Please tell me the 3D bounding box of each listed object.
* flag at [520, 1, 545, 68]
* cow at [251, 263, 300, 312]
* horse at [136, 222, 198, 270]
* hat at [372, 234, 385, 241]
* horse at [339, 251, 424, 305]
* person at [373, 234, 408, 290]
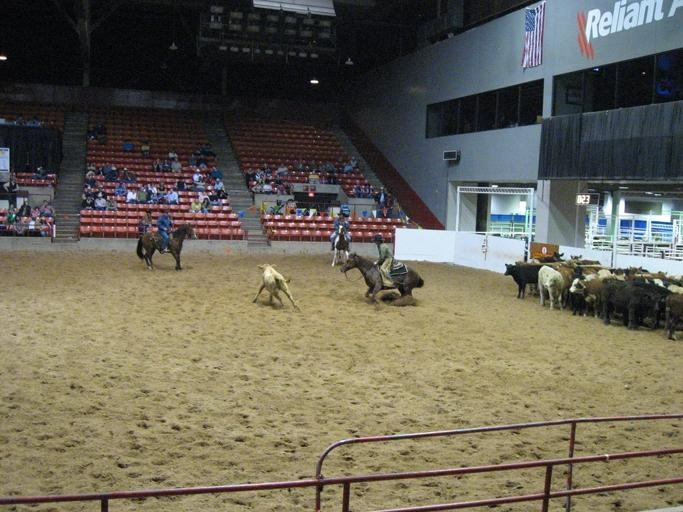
[{"bbox_3d":[7.712,-8.885,29.284,0.359,2.530,1.155,1,4,-17],"label":"flag"},{"bbox_3d":[-1.883,0.776,20.731,0.709,0.920,2.089,-1,8,-21],"label":"cow"},{"bbox_3d":[-5.977,-0.276,24.931,2.172,1.506,0.614,0,5,15],"label":"horse"},{"bbox_3d":[1.092,-0.533,21.321,0.317,0.154,0.441,1,2,8],"label":"hat"},{"bbox_3d":[1.300,0.715,21.414,2.600,1.480,0.653,1,7,-16],"label":"horse"},{"bbox_3d":[1.432,0.185,21.215,1.001,1.561,0.484,3,4,4],"label":"person"}]
